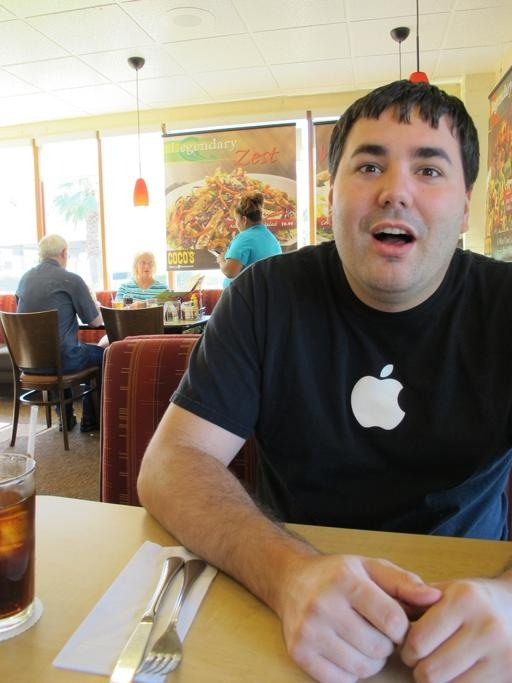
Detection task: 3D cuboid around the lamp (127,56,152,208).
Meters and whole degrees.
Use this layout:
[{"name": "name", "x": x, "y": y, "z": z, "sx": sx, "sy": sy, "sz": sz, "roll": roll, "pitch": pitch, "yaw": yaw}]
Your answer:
[{"name": "lamp", "x": -1.052, "y": -1.859, "z": 4.830, "sx": 0.191, "sy": 1.242, "sz": 0.186, "roll": -10, "pitch": 23, "yaw": -34}]
